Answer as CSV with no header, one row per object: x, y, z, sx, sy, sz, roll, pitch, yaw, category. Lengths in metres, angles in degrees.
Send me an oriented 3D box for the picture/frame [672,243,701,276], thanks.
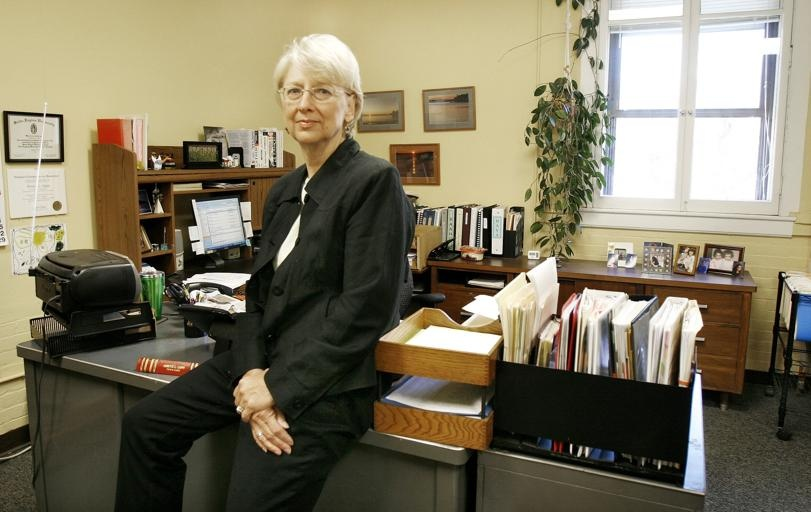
2.450,0.028,4.603,0.269,0.381,0.038,4,-3,38,picture/frame

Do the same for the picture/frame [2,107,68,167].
-2.649,-0.847,3.787,0.050,0.435,0.471,3,4,39,picture/frame

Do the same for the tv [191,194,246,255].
-1.611,-0.287,4.719,0.497,0.475,0.037,-6,5,20,tv

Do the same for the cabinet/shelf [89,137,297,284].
-1.760,-0.418,4.720,0.480,0.990,1.678,9,15,29,cabinet/shelf

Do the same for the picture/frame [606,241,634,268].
1.978,-0.020,4.860,0.218,0.225,0.017,6,-16,8,picture/frame

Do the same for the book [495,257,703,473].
0.898,0.481,2.607,0.957,0.916,0.872,3,6,27,book

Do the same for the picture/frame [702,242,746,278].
2.750,0.035,4.570,0.295,0.267,0.030,3,-2,19,picture/frame

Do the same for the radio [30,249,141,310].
-1.730,0.037,2.946,0.353,0.233,0.453,-2,10,-40,radio

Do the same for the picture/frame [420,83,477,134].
0.453,-1.471,5.368,0.582,0.417,0.023,-6,18,-12,picture/frame

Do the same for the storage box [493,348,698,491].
0.795,0.676,2.262,0.593,0.251,0.612,2,4,24,storage box

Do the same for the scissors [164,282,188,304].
-1.315,0.208,3.137,0.143,0.100,0.057,34,21,13,scissors

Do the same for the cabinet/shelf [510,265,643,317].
1.425,0.319,4.866,0.952,0.549,0.518,6,17,-4,cabinet/shelf

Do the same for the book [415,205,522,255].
0.654,-0.255,5.197,1.010,0.481,0.319,0,8,10,book

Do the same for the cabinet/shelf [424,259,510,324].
0.622,0.140,5.105,0.878,0.818,0.523,1,5,14,cabinet/shelf
